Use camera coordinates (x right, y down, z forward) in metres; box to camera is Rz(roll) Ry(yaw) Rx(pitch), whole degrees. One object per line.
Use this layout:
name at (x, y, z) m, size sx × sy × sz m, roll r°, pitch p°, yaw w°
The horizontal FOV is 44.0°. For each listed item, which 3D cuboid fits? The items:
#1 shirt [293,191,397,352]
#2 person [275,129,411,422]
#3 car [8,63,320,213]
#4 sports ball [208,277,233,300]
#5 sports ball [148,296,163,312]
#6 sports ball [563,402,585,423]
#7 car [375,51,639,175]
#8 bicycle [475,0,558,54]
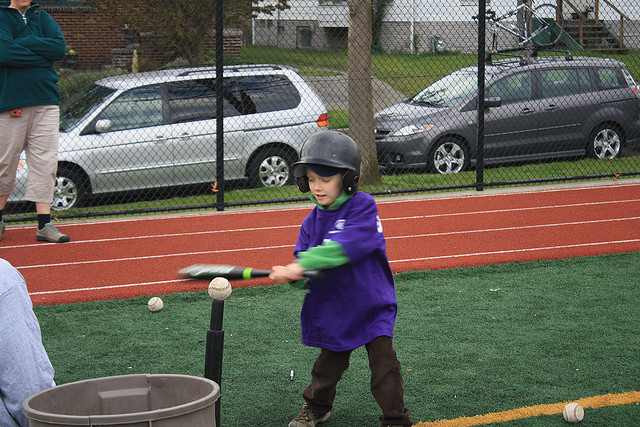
shirt at (0.176, 0.417, 6.097) m, size 0.811 × 1.197 × 0.761 m, roll -3°, pitch 1°, yaw 31°
person at (0.162, 0.496, 5.925) m, size 0.856 × 2.197 × 0.588 m, roll -3°, pitch 7°, yaw -7°
car at (-2.185, -1.216, 11.777) m, size 4.423 × 1.748 × 2.037 m, roll -4°, pitch 8°, yaw -21°
sports ball at (-0.693, 0.509, 5.550) m, size 0.150 × 0.151 × 0.148 m, roll 7°, pitch 32°, yaw -5°
sports ball at (-1.587, 0.854, 7.623) m, size 0.126 × 0.130 × 0.129 m, roll 4°, pitch 20°, yaw -2°
sports ball at (1.922, 1.505, 6.038) m, size 0.135 × 0.141 × 0.139 m, roll -4°, pitch -2°, yaw 0°
car at (3.081, -1.681, 13.577) m, size 4.223 × 1.724 × 2.048 m, roll -1°, pitch 6°, yaw -13°
bicycle at (4.210, -3.702, 16.192) m, size 1.192 × 1.236 × 6.497 m, roll 0°, pitch 8°, yaw 16°
